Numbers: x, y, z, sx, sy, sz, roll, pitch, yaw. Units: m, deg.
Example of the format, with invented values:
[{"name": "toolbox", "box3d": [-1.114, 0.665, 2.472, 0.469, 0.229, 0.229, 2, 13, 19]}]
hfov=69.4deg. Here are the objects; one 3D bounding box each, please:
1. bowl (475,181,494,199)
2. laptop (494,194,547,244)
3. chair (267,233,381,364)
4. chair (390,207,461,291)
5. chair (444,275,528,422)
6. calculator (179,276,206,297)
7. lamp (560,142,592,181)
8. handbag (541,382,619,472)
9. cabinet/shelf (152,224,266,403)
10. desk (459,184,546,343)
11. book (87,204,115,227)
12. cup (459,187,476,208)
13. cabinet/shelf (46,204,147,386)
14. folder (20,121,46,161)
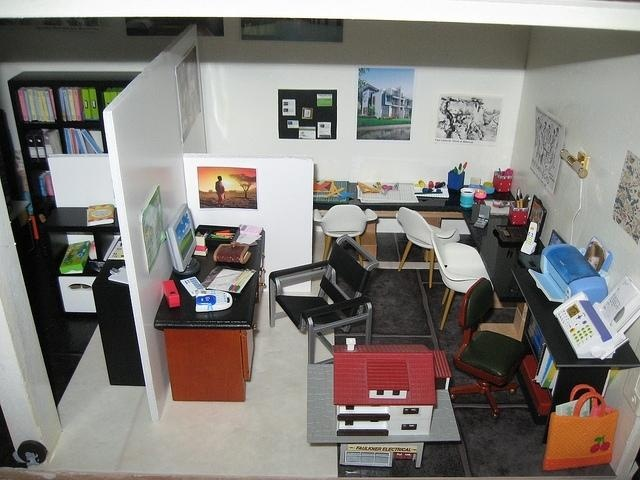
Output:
[{"name": "bowl", "box3d": [2.117, -0.642, 5.962, 0.188, 0.079, 0.309, 1, 30, 12]}, {"name": "laptop", "box3d": [2.212, -0.238, 5.165, 0.385, 0.472, 0.504, 2, 29, 5]}, {"name": "chair", "box3d": [0.026, 0.609, 4.601, 0.802, 1.057, 0.949, -9, 27, -26]}, {"name": "chair", "box3d": [1.225, 0.007, 5.567, 0.556, 0.756, 0.568, 23, 22, 33]}, {"name": "chair", "box3d": [1.538, 1.015, 4.275, 0.560, 1.142, 0.603, 19, 44, 34]}, {"name": "calculator", "box3d": [-1.125, 0.411, 4.146, 0.132, 0.009, 0.240, -16, 38, -28]}, {"name": "lamp", "box3d": [2.373, -0.704, 4.317, 0.139, 0.248, 0.407, -2, 18, 2]}, {"name": "handbag", "box3d": [2.073, 1.482, 3.655, 0.644, 0.809, 0.218, -4, 32, 2]}, {"name": "cabinet/shelf", "box3d": [-0.988, 0.715, 4.812, 0.814, 0.892, 1.784, 2, 24, -3]}, {"name": "desk", "box3d": [1.906, 0.272, 4.804, 0.529, 0.642, 1.750, 3, 44, 9]}, {"name": "book", "box3d": [-2.275, -0.258, 4.850, 0.237, 0.060, 0.247, 2, 43, -6]}, {"name": "cup", "box3d": [1.797, -0.531, 5.784, 0.204, 0.232, 0.214, -3, 36, 2]}, {"name": "cabinet/shelf", "box3d": [-2.100, 0.538, 4.386, 0.708, 1.455, 1.044, 1, 38, -2]}, {"name": "folder", "box3d": [-3.443, -1.212, 5.587, 0.164, 0.307, 0.302, -15, 40, -34]}]
